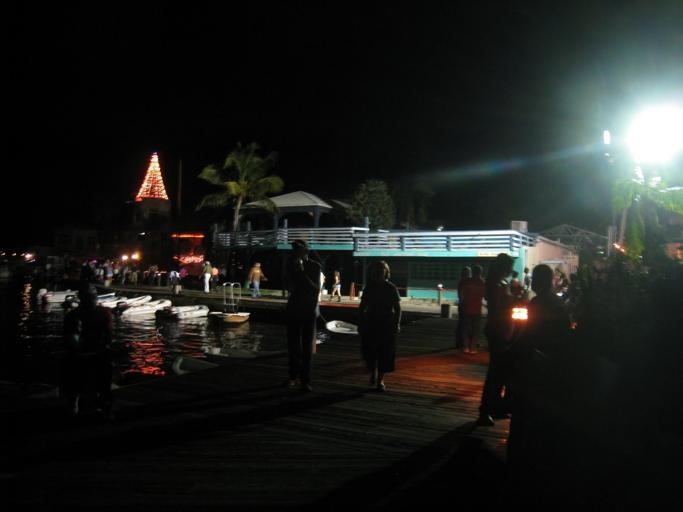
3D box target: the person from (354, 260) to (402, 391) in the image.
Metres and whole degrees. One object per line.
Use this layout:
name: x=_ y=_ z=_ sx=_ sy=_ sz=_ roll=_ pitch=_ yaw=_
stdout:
person: x=0.617 y=1.168 z=10.598 sx=0.682 sy=2.195 sz=0.334 roll=1 pitch=7 yaw=2

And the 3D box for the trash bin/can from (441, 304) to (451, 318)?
trash bin/can: x=3.678 y=1.824 z=22.571 sx=0.385 sy=0.727 sz=0.759 roll=-1 pitch=-2 yaw=10

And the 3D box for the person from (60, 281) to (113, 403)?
person: x=-3.802 y=1.382 z=9.522 sx=0.732 sy=1.842 sz=0.765 roll=-2 pitch=8 yaw=-22

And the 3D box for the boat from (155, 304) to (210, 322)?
boat: x=-6.356 y=2.250 z=25.588 sx=1.963 sy=0.511 sz=1.509 roll=-2 pitch=8 yaw=-16

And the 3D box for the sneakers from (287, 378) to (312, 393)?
sneakers: x=-0.741 y=2.199 z=10.925 sx=0.515 sy=0.227 sz=0.178 roll=-3 pitch=-1 yaw=28

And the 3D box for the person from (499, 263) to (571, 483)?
person: x=2.345 y=1.346 z=7.718 sx=0.666 sy=2.402 sz=0.937 roll=6 pitch=9 yaw=39

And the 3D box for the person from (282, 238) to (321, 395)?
person: x=-0.651 y=0.988 z=10.792 sx=0.575 sy=2.550 sz=0.629 roll=0 pitch=7 yaw=-6

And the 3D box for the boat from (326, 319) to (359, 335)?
boat: x=0.026 y=1.992 z=18.144 sx=0.837 sy=0.144 sz=0.630 roll=14 pitch=14 yaw=7

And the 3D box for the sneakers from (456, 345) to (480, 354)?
sneakers: x=2.812 y=2.058 z=14.288 sx=0.270 sy=0.218 sz=0.289 roll=-1 pitch=-1 yaw=30
